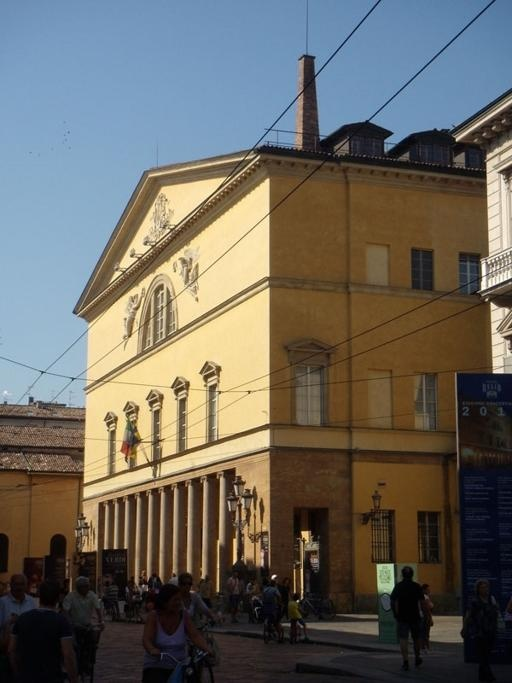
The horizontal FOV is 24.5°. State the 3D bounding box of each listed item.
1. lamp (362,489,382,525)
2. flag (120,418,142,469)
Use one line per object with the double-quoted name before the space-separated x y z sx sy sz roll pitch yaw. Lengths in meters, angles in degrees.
"lamp" 3.326 4.923 34.242 0.524 0.889 0.516 -3 -14 8
"flag" -5.122 4.006 48.476 0.742 1.969 2.487 1 -14 -9
